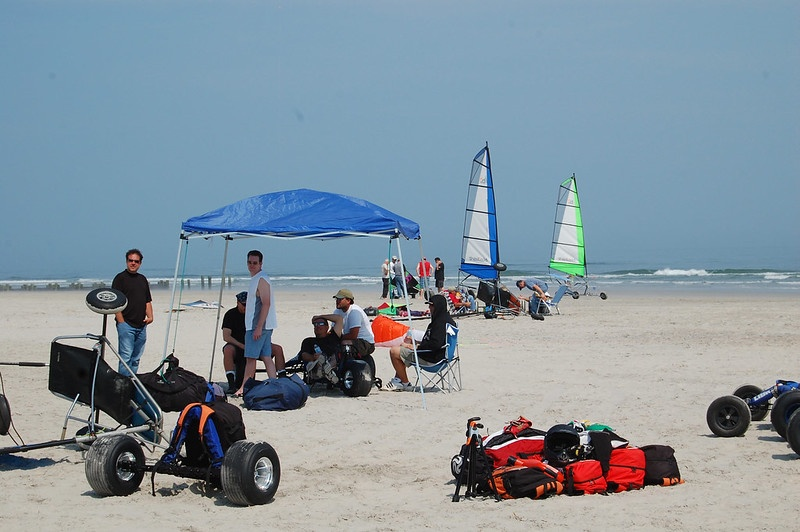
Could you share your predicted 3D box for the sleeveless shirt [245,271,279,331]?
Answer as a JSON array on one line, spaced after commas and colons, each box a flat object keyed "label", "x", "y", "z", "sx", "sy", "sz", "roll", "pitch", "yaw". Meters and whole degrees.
[{"label": "sleeveless shirt", "x": -2.068, "y": 0.516, "z": 13.759, "sx": 0.431, "sy": 0.873, "sz": 0.521, "roll": -2, "pitch": 9, "yaw": -10}]

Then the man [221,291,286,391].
[{"label": "man", "x": -2.352, "y": 1.149, "z": 14.501, "sx": 0.920, "sy": 1.622, "sz": 0.898, "roll": -3, "pitch": -4, "yaw": -4}]

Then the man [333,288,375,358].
[{"label": "man", "x": -0.792, "y": 1.081, "z": 14.521, "sx": 0.576, "sy": 1.382, "sz": 0.731, "roll": -4, "pitch": -6, "yaw": 40}]

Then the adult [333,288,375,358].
[{"label": "adult", "x": -0.780, "y": 1.085, "z": 14.507, "sx": 0.698, "sy": 1.404, "sz": 0.669, "roll": 1, "pitch": -9, "yaw": -14}]

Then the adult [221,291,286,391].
[{"label": "adult", "x": -2.279, "y": 1.136, "z": 14.302, "sx": 0.879, "sy": 1.453, "sz": 0.913, "roll": 0, "pitch": -3, "yaw": -17}]

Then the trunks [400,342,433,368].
[{"label": "trunks", "x": 0.243, "y": 1.381, "z": 14.460, "sx": 0.409, "sy": 0.485, "sz": 0.364, "roll": -2, "pitch": 2, "yaw": 13}]

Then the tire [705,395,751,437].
[{"label": "tire", "x": 4.279, "y": 1.966, "z": 12.200, "sx": 0.359, "sy": 0.385, "sz": 0.141, "roll": -27, "pitch": -7, "yaw": 7}]

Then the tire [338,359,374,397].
[{"label": "tire", "x": -0.685, "y": 1.622, "z": 14.347, "sx": 0.439, "sy": 0.683, "sz": 0.625, "roll": 3, "pitch": 0, "yaw": -34}]

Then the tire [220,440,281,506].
[{"label": "tire", "x": -1.724, "y": 2.367, "z": 10.655, "sx": 0.292, "sy": 0.590, "sz": 0.556, "roll": -1, "pitch": -16, "yaw": 35}]

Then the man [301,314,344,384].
[{"label": "man", "x": -1.214, "y": 1.313, "z": 14.453, "sx": 0.619, "sy": 1.233, "sz": 0.548, "roll": -20, "pitch": -30, "yaw": 39}]

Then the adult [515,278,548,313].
[{"label": "adult", "x": 3.393, "y": 0.790, "z": 24.259, "sx": 0.701, "sy": 1.025, "sz": 0.546, "roll": -10, "pitch": 5, "yaw": -1}]

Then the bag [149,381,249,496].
[{"label": "bag", "x": -2.268, "y": 1.989, "z": 11.122, "sx": 0.798, "sy": 1.225, "sz": 1.126, "roll": 4, "pitch": 12, "yaw": 21}]

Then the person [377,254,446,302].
[{"label": "person", "x": 0.240, "y": 0.467, "z": 28.177, "sx": 1.406, "sy": 1.780, "sz": 0.869, "roll": -4, "pitch": 10, "yaw": -8}]

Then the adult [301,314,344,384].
[{"label": "adult", "x": -1.199, "y": 1.308, "z": 14.440, "sx": 0.507, "sy": 1.199, "sz": 0.618, "roll": 15, "pitch": -26, "yaw": -35}]

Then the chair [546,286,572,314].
[{"label": "chair", "x": 4.690, "y": 1.038, "z": 27.564, "sx": 0.549, "sy": 0.780, "sz": 0.475, "roll": 21, "pitch": -8, "yaw": -35}]

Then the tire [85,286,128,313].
[{"label": "tire", "x": -3.485, "y": 0.452, "z": 11.143, "sx": 0.450, "sy": 0.336, "sz": 0.471, "roll": -3, "pitch": 10, "yaw": -18}]

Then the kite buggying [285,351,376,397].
[{"label": "kite buggying", "x": -0.981, "y": 1.675, "z": 14.388, "sx": 1.030, "sy": 0.572, "sz": 0.682, "roll": 8, "pitch": 1, "yaw": 29}]

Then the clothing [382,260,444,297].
[{"label": "clothing", "x": 0.158, "y": 0.426, "z": 28.484, "sx": 1.544, "sy": 1.276, "sz": 0.884, "roll": 3, "pitch": -5, "yaw": -17}]

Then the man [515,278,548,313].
[{"label": "man", "x": 3.384, "y": 0.789, "z": 24.262, "sx": 0.698, "sy": 1.024, "sz": 0.545, "roll": -8, "pitch": 7, "yaw": -5}]

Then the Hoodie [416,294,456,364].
[{"label": "Hoodie", "x": 0.530, "y": 0.961, "z": 14.382, "sx": 0.554, "sy": 1.075, "sz": 0.318, "roll": 0, "pitch": 9, "yaw": 3}]
